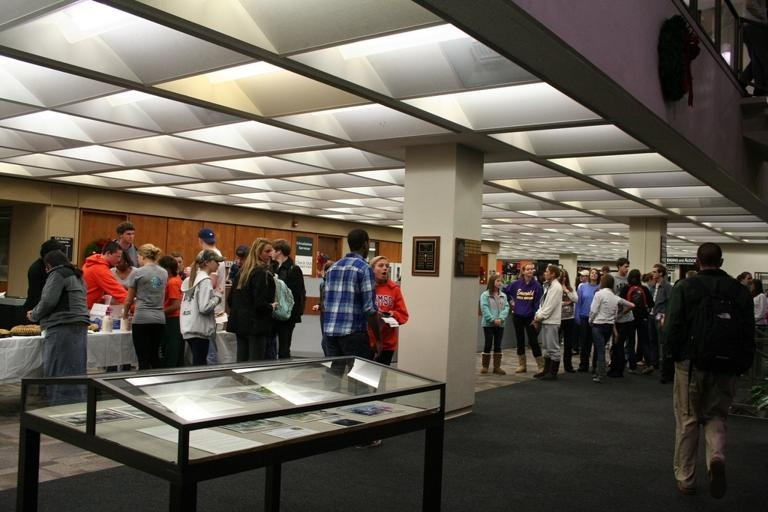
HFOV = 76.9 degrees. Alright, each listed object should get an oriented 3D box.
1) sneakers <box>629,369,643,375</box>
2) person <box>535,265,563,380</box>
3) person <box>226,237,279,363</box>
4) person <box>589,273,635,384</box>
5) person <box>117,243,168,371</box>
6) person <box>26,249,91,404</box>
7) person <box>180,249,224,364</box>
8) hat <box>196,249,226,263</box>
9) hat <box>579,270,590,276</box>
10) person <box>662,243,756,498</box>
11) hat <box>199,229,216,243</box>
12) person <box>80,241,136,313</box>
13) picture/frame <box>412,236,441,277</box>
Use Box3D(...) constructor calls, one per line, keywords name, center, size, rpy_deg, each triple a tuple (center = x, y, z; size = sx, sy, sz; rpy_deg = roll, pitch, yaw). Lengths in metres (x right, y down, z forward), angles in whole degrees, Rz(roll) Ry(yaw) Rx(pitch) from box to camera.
Box3D(name="sneakers", center=(6.368, 2.927, 12.275), size=(0.374, 0.137, 0.114), rpy_deg=(-1, 1, 25))
Box3D(name="person", center=(3.703, 1.461, 10.805), size=(0.691, 2.236, 0.872), rpy_deg=(10, 5, 19))
Box3D(name="person", center=(-1.795, 0.590, 6.566), size=(0.612, 1.668, 0.403), rpy_deg=(9, 4, 0))
Box3D(name="person", center=(4.987, 1.623, 10.827), size=(0.808, 2.251, 0.961), rpy_deg=(11, 5, 27))
Box3D(name="person", center=(-3.615, 0.762, 7.361), size=(0.572, 1.866, 0.758), rpy_deg=(6, 5, -27))
Box3D(name="person", center=(-4.000, 0.758, 5.992), size=(0.602, 1.618, 0.569), rpy_deg=(6, 5, -24))
Box3D(name="person", center=(-2.686, 0.753, 7.113), size=(0.540, 1.757, 1.038), rpy_deg=(7, 5, -18))
Box3D(name="hat", center=(-2.491, -0.009, 6.943), size=(0.302, 0.148, 0.211), rpy_deg=(-2, 3, -23))
Box3D(name="hat", center=(5.174, 0.421, 12.480), size=(0.231, 0.106, 0.164), rpy_deg=(13, -4, -20))
Box3D(name="person", center=(3.289, 1.191, 5.028), size=(0.808, 2.787, 0.639), rpy_deg=(11, 5, 31))
Box3D(name="hat", center=(-2.760, -0.320, 7.540), size=(0.208, 0.240, 0.240), rpy_deg=(7, 5, -13))
Box3D(name="person", center=(-4.391, 0.360, 7.770), size=(0.847, 1.274, 0.717), rpy_deg=(1, 34, -27))
Box3D(name="picture/frame", center=(0.665, -0.002, 7.418), size=(0.661, 0.805, 0.085), rpy_deg=(-1, -4, 31))
